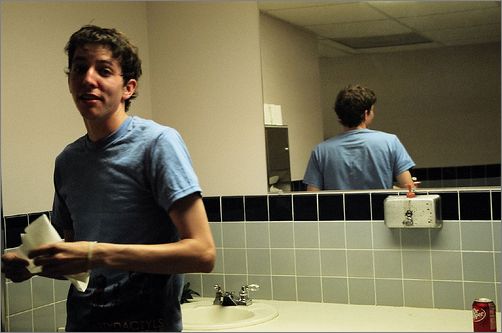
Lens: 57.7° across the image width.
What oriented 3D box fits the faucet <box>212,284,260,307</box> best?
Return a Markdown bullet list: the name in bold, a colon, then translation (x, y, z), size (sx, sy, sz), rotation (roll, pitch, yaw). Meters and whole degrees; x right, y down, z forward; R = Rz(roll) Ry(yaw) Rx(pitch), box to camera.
- **faucet**: translation (-0.085, 0.741, 2.636), size (0.271, 0.107, 0.079), rotation (-3, -7, 16)
